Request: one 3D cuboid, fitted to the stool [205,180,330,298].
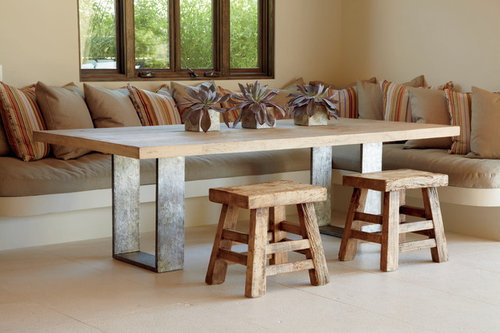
[{"bbox_3d":[0.102,0.357,2.724,0.889,0.704,0.685,-3,5,-37],"label":"stool"}]

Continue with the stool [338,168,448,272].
[{"bbox_3d":[1.041,0.382,3.037,0.723,0.535,0.555,1,0,-23],"label":"stool"}]
